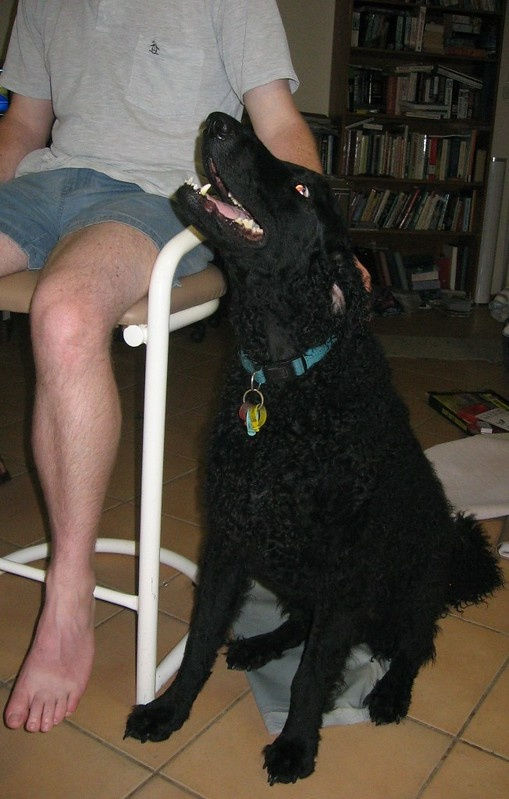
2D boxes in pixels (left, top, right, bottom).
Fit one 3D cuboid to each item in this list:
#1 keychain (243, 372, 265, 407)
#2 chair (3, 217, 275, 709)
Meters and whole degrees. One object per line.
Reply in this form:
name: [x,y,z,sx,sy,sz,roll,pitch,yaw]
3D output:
keychain: [-0.002,-0.020,1.284,0.013,0.052,0.038,0,1,-45]
chair: [-0.279,0.105,1.393,0.439,0.916,0.556,2,21,-14]
